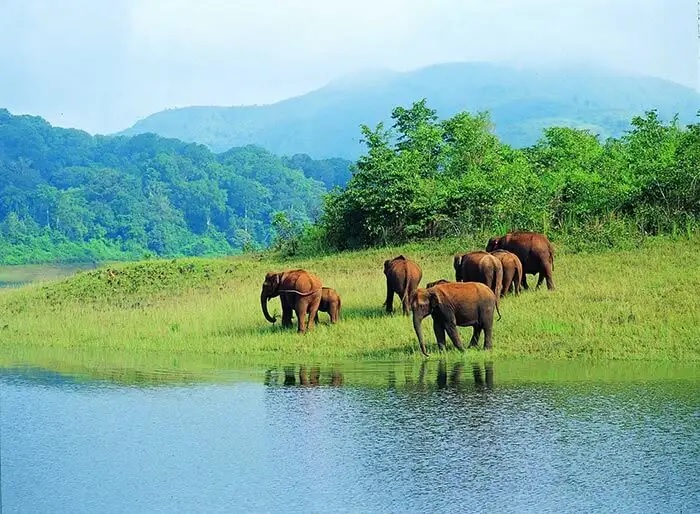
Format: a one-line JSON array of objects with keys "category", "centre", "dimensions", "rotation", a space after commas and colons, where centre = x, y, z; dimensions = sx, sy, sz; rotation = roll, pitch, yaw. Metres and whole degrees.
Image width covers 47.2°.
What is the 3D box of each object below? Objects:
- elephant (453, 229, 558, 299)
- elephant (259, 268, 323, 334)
[{"category": "elephant", "centre": [5.914, 0.104, 26.929], "dimensions": [1.903, 1.909, 1.295], "rotation": [0, 9, 14]}, {"category": "elephant", "centre": [-1.798, 1.245, 24.558], "dimensions": [1.279, 1.926, 2.524], "rotation": [-7, 10, -30]}]
